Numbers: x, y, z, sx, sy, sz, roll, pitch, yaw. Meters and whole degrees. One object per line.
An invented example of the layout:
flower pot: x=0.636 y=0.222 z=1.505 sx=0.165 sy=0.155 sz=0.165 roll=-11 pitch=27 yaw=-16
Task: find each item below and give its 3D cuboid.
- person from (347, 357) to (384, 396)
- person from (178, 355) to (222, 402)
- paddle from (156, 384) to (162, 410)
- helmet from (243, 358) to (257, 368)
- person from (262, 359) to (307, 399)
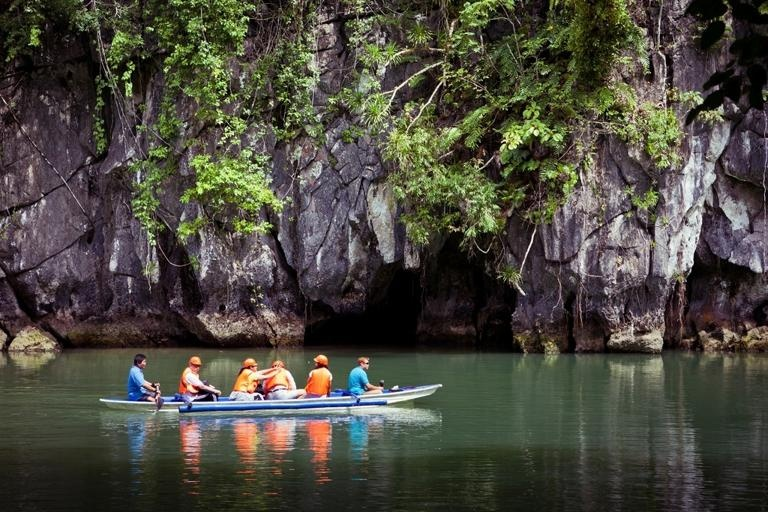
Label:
person: x=-0.622 y=3.566 z=46.217 sx=0.927 sy=1.173 sz=1.054 roll=-2 pitch=8 yaw=-31
person: x=-5.310 y=3.533 z=45.441 sx=1.103 sy=1.301 sz=0.821 roll=-2 pitch=-6 yaw=5
paddle: x=-6.388 y=4.013 z=45.188 sx=0.246 sy=0.748 sz=0.305 roll=0 pitch=-5 yaw=-14
helmet: x=-3.895 y=3.083 z=45.502 sx=0.452 sy=0.218 sz=0.348 roll=5 pitch=7 yaw=36
person: x=-2.859 y=3.600 z=45.943 sx=0.947 sy=1.566 sz=1.108 roll=-2 pitch=-7 yaw=9
